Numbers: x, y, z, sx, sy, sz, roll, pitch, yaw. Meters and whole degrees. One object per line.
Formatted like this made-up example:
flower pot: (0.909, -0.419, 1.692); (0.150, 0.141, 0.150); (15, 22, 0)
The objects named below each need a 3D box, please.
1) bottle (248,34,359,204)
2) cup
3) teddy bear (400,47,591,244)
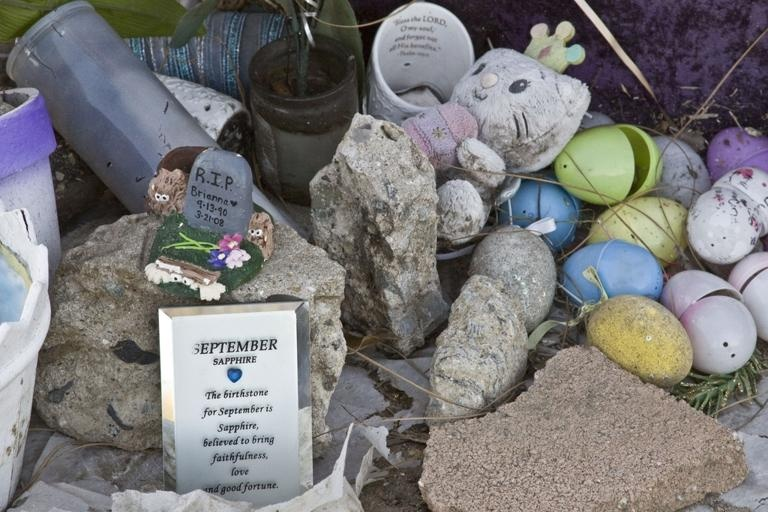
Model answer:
bottle: (-0.317, -0.540, 3.086); (0.421, 0.483, 0.428); (32, 53, 20)
cup: (0.124, -0.755, 3.260); (0.361, 0.525, 0.546); (13, 82, -14)
teddy bear: (0.374, -0.425, 3.045); (0.700, 0.689, 0.538); (-3, 34, -21)
